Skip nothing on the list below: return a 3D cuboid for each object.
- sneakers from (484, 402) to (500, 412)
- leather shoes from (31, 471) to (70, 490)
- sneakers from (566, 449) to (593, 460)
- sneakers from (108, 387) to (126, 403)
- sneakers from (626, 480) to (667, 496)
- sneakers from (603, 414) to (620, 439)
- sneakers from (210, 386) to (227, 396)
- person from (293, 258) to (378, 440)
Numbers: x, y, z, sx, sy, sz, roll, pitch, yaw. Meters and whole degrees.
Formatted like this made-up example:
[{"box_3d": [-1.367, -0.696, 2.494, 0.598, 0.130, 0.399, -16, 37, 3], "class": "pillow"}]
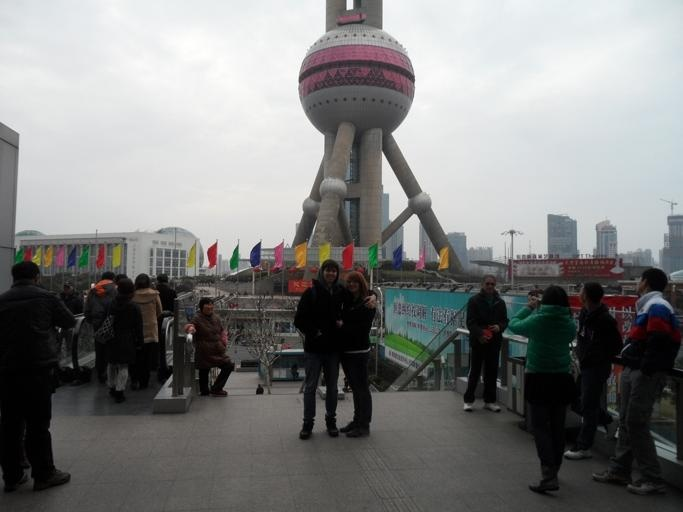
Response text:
[{"box_3d": [2.370, 2.392, 8.873, 0.092, 0.129, 0.287, 3, -13, -12], "class": "sneakers"}, {"box_3d": [-3.120, 2.440, 6.117, 0.390, 0.191, 0.151, 0, 5, -45], "class": "leather shoes"}, {"box_3d": [2.918, 2.456, 7.019, 0.342, 0.166, 0.133, 4, -5, -2], "class": "sneakers"}, {"box_3d": [-3.775, 2.317, 9.539, 0.142, 0.295, 0.412, 2, 5, 5], "class": "sneakers"}, {"box_3d": [3.271, 2.489, 6.121, 0.397, 0.208, 0.158, 3, -8, 10], "class": "sneakers"}, {"box_3d": [3.390, 2.134, 7.074, 0.128, 0.421, 0.162, -5, 0, -26], "class": "sneakers"}, {"box_3d": [-2.196, 2.434, 10.111, 0.289, 0.194, 0.120, -1, 3, -14], "class": "sneakers"}, {"box_3d": [-0.298, 1.245, 7.610, 0.694, 2.396, 0.501, 2, -2, -6], "class": "person"}]
